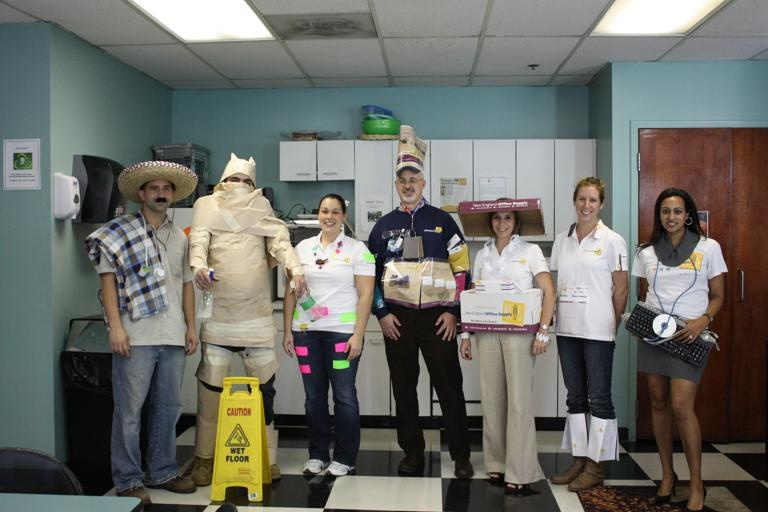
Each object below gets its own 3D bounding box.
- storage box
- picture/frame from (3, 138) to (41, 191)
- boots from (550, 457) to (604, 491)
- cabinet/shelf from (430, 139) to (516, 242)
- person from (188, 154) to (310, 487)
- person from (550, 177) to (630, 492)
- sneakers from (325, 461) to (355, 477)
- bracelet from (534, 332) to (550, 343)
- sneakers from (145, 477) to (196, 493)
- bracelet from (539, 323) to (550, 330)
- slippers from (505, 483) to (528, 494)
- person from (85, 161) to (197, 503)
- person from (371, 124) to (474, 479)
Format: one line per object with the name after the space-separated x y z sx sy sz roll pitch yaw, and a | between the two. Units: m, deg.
0.806 0.385 4.084 0.592 0.319 0.300 0 -6 15 | storage box
-2.772 -0.715 4.487 0.413 0.545 0.022 0 0 -2 | picture/frame
1.325 1.553 4.236 0.432 0.300 0.173 2 -5 -6 | boots
0.776 -0.584 5.023 1.008 0.910 0.231 1 4 1 | cabinet/shelf
-1.080 0.452 4.250 0.704 2.335 0.395 -3 8 -19 | person
1.438 0.550 4.185 0.525 2.189 0.400 2 8 15 | person
-0.339 1.578 4.381 0.229 0.098 0.083 21 -17 -37 | sneakers
1.106 0.571 4.140 0.080 0.037 0.083 11 -11 8 | bracelet
-1.523 1.609 4.200 0.337 0.138 0.114 1 -4 4 | sneakers
1.129 0.497 4.141 0.064 0.042 0.061 -6 -9 17 | bracelet
0.937 1.631 4.150 0.168 0.042 0.066 11 -10 -34 | slippers
-1.629 0.507 4.057 0.715 2.292 0.445 -4 9 -27 | person
0.262 0.582 4.350 0.775 2.075 0.385 0 8 0 | person
